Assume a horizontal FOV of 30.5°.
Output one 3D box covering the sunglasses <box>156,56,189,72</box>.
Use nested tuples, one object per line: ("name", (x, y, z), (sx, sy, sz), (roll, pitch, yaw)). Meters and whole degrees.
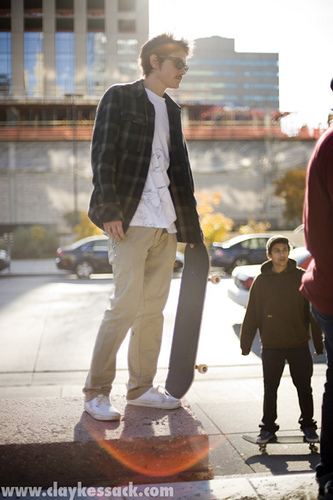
("sunglasses", (0.050, -1.057, 3.439), (0.106, 0.027, 0.096), (18, 7, 11))

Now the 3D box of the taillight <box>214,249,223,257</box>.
("taillight", (1.374, 0.066, 16.066), (0.170, 0.111, 0.199), (1, 18, 8))

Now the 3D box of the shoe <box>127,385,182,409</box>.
("shoe", (-0.058, 0.813, 3.357), (0.293, 0.102, 0.099), (1, -4, 5))

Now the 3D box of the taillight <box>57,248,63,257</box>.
("taillight", (-2.608, 0.053, 15.056), (0.187, 0.222, 0.080), (-9, -27, 14))

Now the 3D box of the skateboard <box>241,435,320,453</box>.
("skateboard", (0.697, 1.167, 3.735), (0.459, 0.039, 0.293), (0, 4, 0))

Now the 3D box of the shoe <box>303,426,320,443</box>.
("shoe", (0.894, 1.135, 3.765), (0.047, 0.039, 0.109), (-4, 12, -1))

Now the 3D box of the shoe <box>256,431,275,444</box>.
("shoe", (0.605, 1.147, 3.749), (0.044, 0.044, 0.121), (3, 4, 38))

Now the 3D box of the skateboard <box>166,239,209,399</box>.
("skateboard", (0.134, 0.388, 3.469), (0.241, 0.873, 0.142), (15, 4, 32))

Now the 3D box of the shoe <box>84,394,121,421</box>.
("shoe", (-0.335, 0.816, 3.192), (0.124, 0.105, 0.218), (-2, 5, -26))

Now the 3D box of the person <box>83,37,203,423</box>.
("person", (-0.135, -0.161, 3.368), (0.780, 2.055, 0.410), (-5, 6, -42))

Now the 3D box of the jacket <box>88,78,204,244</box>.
("jacket", (-0.136, -0.509, 3.408), (0.695, 0.961, 0.339), (-4, 6, -39))
